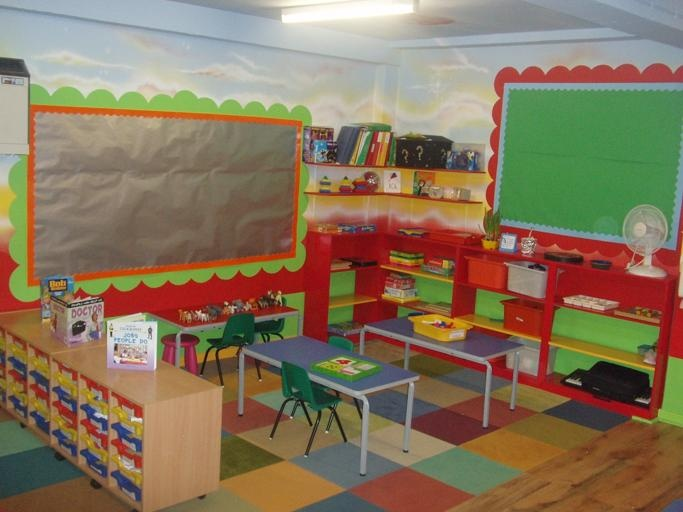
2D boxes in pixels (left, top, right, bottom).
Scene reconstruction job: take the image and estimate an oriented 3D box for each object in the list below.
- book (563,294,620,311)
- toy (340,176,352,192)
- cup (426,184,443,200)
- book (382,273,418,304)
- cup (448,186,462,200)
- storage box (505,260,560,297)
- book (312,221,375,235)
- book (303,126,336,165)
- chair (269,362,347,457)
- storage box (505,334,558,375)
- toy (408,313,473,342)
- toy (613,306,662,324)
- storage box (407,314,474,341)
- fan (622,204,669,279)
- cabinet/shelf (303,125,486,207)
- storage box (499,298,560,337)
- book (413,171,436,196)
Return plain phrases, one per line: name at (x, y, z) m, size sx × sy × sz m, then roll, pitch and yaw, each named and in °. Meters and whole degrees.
book at (2.897, 0.555, 6.242) m, size 0.263 × 0.050 × 0.333 m, roll -5°, pitch 10°, yaw -34°
toy at (0.061, -1.010, 7.554) m, size 0.203 × 0.240 × 0.193 m, roll 0°, pitch 11°, yaw 6°
cup at (1.303, -0.897, 7.519) m, size 0.202 × 0.137 × 0.197 m, roll 2°, pitch 5°, yaw 0°
book at (0.884, 0.486, 7.945) m, size 0.436 × 0.297 × 0.426 m, roll -2°, pitch 7°, yaw -43°
cup at (1.548, -0.865, 7.354) m, size 0.181 × 0.157 × 0.170 m, roll 1°, pitch -3°, yaw 0°
storage box at (2.369, 0.293, 6.680) m, size 0.495 × 0.294 × 0.366 m, roll 7°, pitch 9°, yaw 42°
book at (0.046, -0.393, 7.656) m, size 0.948 × 0.115 × 0.347 m, roll -4°, pitch 13°, yaw -33°
book at (-0.327, -1.493, 7.204) m, size 0.545 × 0.495 × 0.247 m, roll -4°, pitch 9°, yaw -32°
chair at (-0.313, 1.508, 5.132) m, size 0.672 × 0.874 × 0.626 m, roll -19°, pitch 25°, yaw -40°
storage box at (2.369, 1.228, 6.573) m, size 0.331 × 0.375 × 0.600 m, roll -4°, pitch 9°, yaw -41°
toy at (1.066, 0.800, 6.003) m, size 0.355 × 0.122 × 0.434 m, roll -5°, pitch 9°, yaw -39°
toy at (3.338, 0.658, 5.980) m, size 0.468 × 0.125 × 0.236 m, roll 12°, pitch 14°, yaw 38°
storage box at (1.072, 0.751, 5.990) m, size 0.348 × 0.122 × 0.441 m, roll -5°, pitch 8°, yaw -38°
fan at (3.408, -0.179, 5.944) m, size 0.484 × 0.770 × 0.433 m, roll 10°, pitch 13°, yaw 27°
cabinet/shelf at (0.735, -1.303, 7.375) m, size 2.437 × 0.996 × 1.249 m, roll 8°, pitch 7°, yaw 27°
storage box at (2.406, 0.779, 6.855) m, size 0.590 × 0.344 × 0.411 m, roll 6°, pitch 9°, yaw 35°
book at (1.201, -1.051, 7.673) m, size 0.397 × 0.474 × 0.052 m, roll 3°, pitch -4°, yaw 34°
